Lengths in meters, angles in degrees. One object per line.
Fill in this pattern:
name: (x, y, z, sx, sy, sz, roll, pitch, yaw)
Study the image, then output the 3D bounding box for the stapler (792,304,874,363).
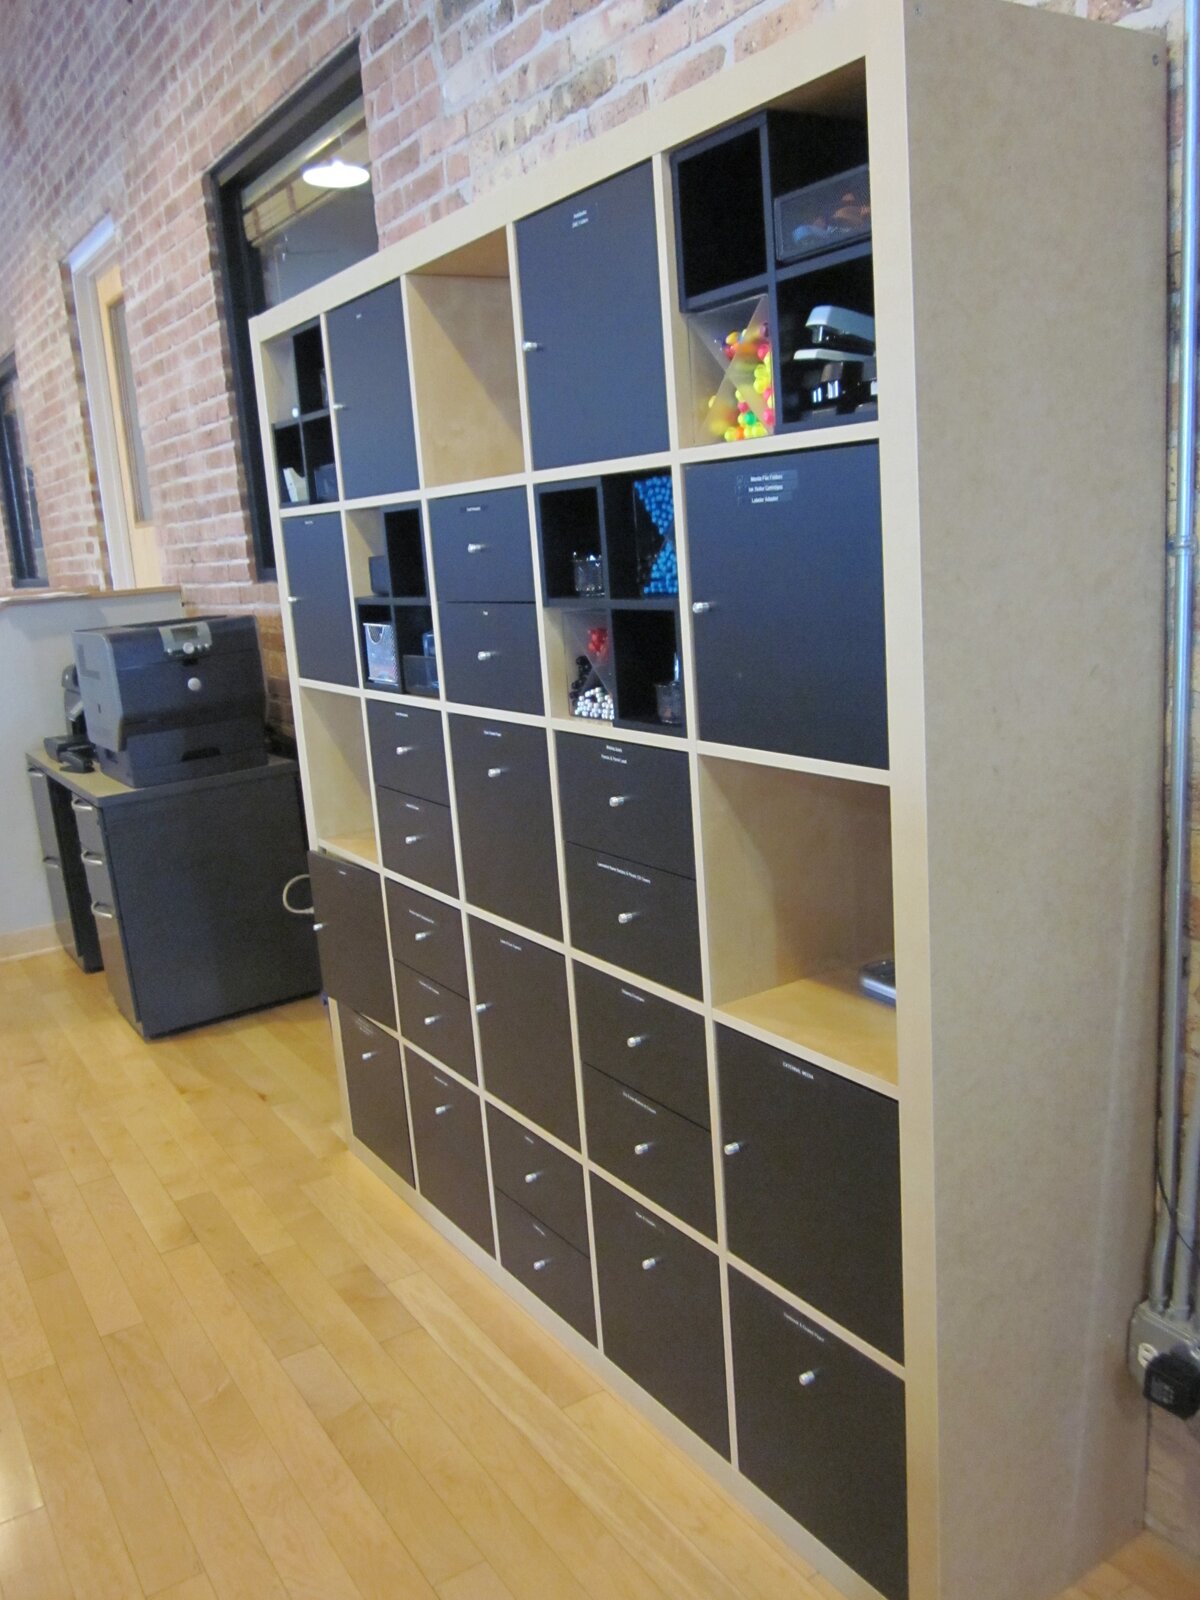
stapler: (0.236, -0.467, 1.233, 0.028, 0.058, 0.099, -13, 14, -37)

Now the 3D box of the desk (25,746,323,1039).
desk: (-1.472, 0.272, 4.233, 0.609, 0.795, 1.165, -11, 11, -31)

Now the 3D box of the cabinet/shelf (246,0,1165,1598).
cabinet/shelf: (0.130, 0.048, 1.789, 0.490, 1.864, 1.202, -12, 14, -36)
